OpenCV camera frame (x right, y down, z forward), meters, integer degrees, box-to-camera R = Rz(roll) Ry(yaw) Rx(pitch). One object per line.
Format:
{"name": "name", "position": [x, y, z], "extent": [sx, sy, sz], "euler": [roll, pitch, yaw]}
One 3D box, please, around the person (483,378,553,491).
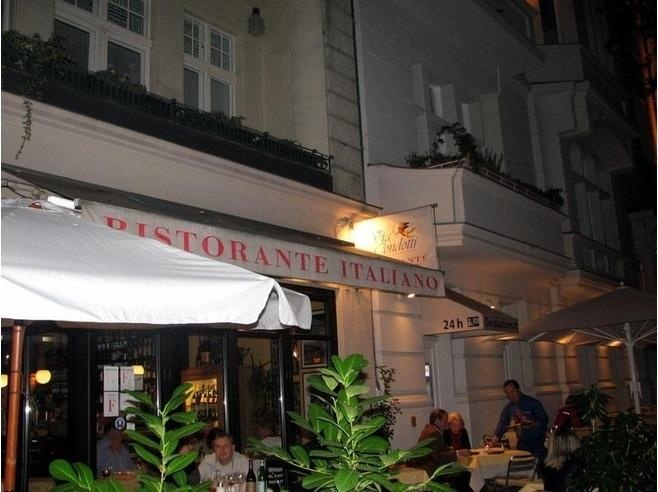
{"name": "person", "position": [3.344, 3.426, 12.255], "extent": [0.908, 1.868, 0.777], "euler": [27, -43, -23]}

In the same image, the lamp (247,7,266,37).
{"name": "lamp", "position": [-1.485, -4.626, 13.905], "extent": [0.223, 0.557, 0.347], "euler": [-14, -18, 36]}

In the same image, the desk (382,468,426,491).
{"name": "desk", "position": [1.179, 3.292, 9.764], "extent": [0.460, 0.197, 1.571], "euler": [-6, -16, 7]}

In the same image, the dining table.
{"name": "dining table", "position": [2.643, 3.632, 11.273], "extent": [1.214, 0.610, 1.250], "euler": [9, -24, -30]}
